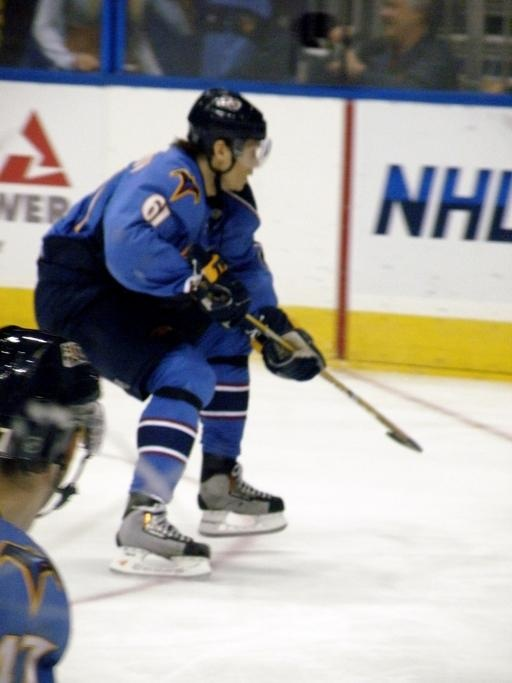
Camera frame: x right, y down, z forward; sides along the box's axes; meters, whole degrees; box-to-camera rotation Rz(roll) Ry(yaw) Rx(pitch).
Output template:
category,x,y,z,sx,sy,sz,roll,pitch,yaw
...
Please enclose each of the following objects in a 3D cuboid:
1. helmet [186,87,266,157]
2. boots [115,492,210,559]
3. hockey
category,x,y,z,sx,sy,sz,roll,pitch,yaw
helmet,-0.082,-0.549,2.063,0.214,0.155,0.154,-6,27,-7
boots,-0.204,0.436,1.912,0.249,0.118,0.073,-3,0,25
hockey,0.301,0.170,3.070,1.159,0.142,0.056,25,31,-33
